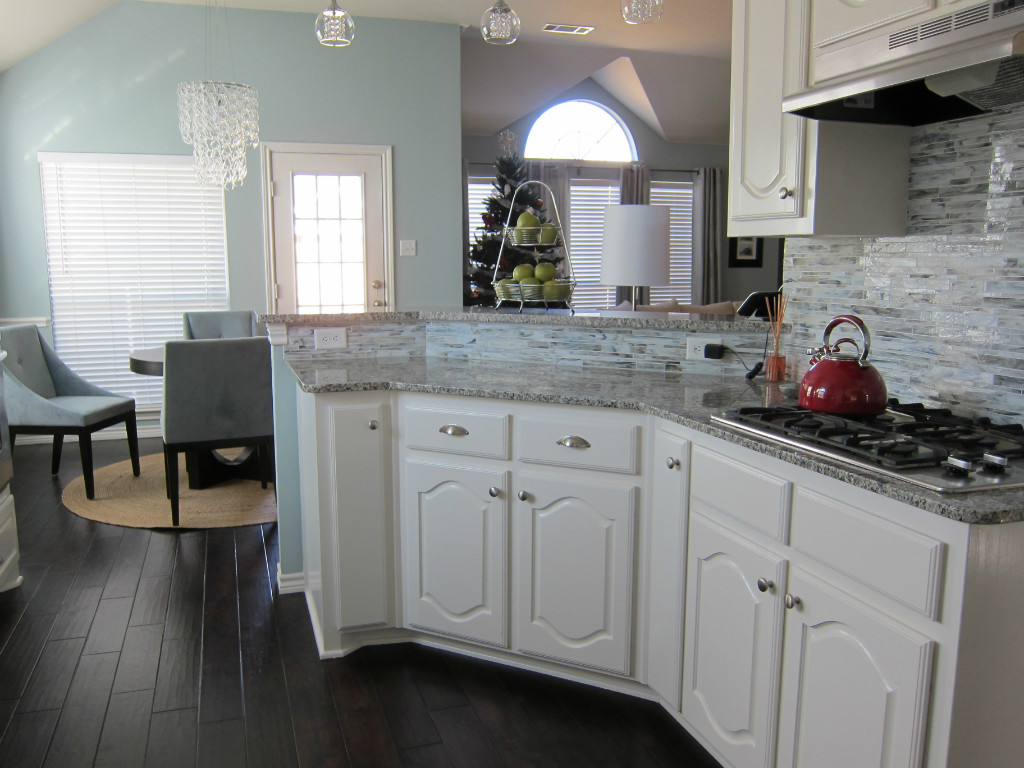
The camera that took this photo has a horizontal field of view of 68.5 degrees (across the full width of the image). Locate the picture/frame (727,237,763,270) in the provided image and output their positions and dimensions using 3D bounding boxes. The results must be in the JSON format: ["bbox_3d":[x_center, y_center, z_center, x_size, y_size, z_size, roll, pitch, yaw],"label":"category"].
[{"bbox_3d":[2.838,-1.579,9.128,0.510,0.349,0.188,-6,13,-25],"label":"picture/frame"}]

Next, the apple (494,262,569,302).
[{"bbox_3d":[0.130,-0.442,3.424,0.220,0.133,0.226,4,9,27],"label":"apple"}]

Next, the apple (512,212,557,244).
[{"bbox_3d":[0.089,-0.680,3.300,0.226,0.144,0.192,2,12,11],"label":"apple"}]

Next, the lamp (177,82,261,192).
[{"bbox_3d":[-2.057,-1.730,5.256,0.472,0.643,0.607,-5,13,-23],"label":"lamp"}]

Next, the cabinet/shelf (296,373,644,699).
[{"bbox_3d":[-0.037,0.573,2.978,1.493,1.207,0.901,2,4,18],"label":"cabinet/shelf"}]

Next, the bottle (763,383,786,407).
[{"bbox_3d":[0.926,0.042,2.657,0.047,0.092,0.048,-1,13,0],"label":"bottle"}]

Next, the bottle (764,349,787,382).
[{"bbox_3d":[1.021,-0.070,2.907,0.084,0.116,0.119,4,13,20],"label":"bottle"}]

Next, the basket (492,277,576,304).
[{"bbox_3d":[0.094,-0.422,3.450,0.355,0.133,0.254,1,12,5],"label":"basket"}]

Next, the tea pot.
[{"bbox_3d":[1.011,-0.069,2.380,0.302,0.359,0.311,1,2,0],"label":"tea pot"}]
